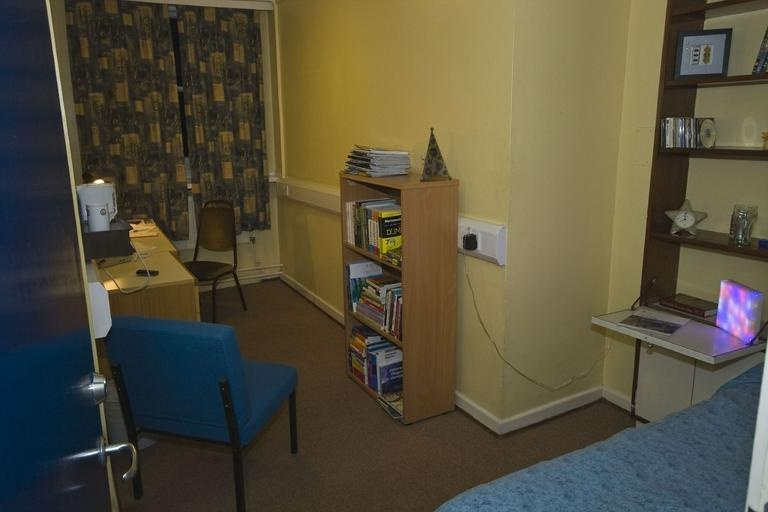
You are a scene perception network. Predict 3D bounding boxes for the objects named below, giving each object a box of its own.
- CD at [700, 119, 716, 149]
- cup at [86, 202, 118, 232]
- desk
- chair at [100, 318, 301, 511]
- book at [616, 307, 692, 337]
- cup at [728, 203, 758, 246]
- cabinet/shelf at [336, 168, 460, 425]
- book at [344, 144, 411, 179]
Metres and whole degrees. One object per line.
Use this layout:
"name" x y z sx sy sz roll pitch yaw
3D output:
"CD" 1.810 -0.683 3.190 0.072 0.150 0.104 2 18 9
"cup" -1.547 -0.207 3.105 0.096 0.146 0.158 3 2 29
"desk" -1.793 0.151 4.284 0.596 0.386 1.202 -11 22 -27
"chair" -0.973 0.760 3.162 0.733 1.064 0.674 5 19 16
"book" 1.517 0.371 3.230 0.303 0.022 0.333 17 26 40
"cup" 1.950 -0.166 3.101 0.114 0.185 0.157 6 20 19
"cabinet/shelf" 0.113 0.214 3.960 0.539 1.542 0.912 -11 21 -28
"book" -0.003 -0.630 3.896 0.290 0.132 0.286 -7 14 -42
